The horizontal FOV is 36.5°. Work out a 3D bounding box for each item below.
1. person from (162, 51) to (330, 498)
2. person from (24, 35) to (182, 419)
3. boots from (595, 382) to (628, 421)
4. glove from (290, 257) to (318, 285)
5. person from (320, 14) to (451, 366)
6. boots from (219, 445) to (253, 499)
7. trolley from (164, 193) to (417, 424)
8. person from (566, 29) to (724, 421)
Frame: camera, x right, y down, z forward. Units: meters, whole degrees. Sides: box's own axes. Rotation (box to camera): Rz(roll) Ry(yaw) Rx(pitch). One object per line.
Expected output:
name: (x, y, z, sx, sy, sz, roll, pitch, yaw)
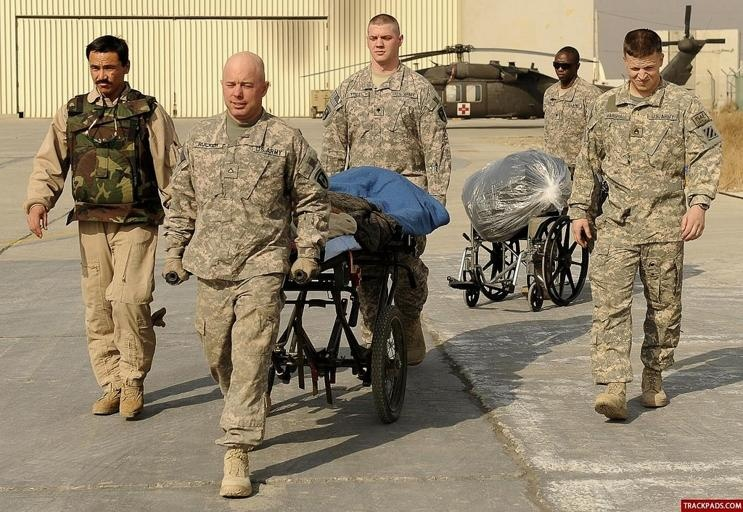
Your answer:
person: (-0.737, 0.072, 6.936, 1.182, 2.536, 1.275, -5, 10, -16)
person: (-1.790, -0.204, 7.752, 0.961, 2.560, 0.804, 4, 16, 20)
boots: (1.612, 0.973, 7.556, 0.208, 0.254, 0.278, 2, 14, 13)
glove: (-0.407, 0.083, 6.720, 0.172, 0.142, 0.141, -2, 14, -4)
person: (0.170, -0.492, 8.722, 1.109, 2.482, 1.067, 0, 3, -4)
boots: (-0.815, 1.257, 6.663, 0.192, 0.283, 0.272, -3, 14, -6)
trolley: (-0.459, 0.230, 8.101, 1.340, 1.273, 2.009, 1, 9, 18)
person: (1.858, -0.230, 7.641, 0.968, 2.559, 0.822, -2, 15, -1)
